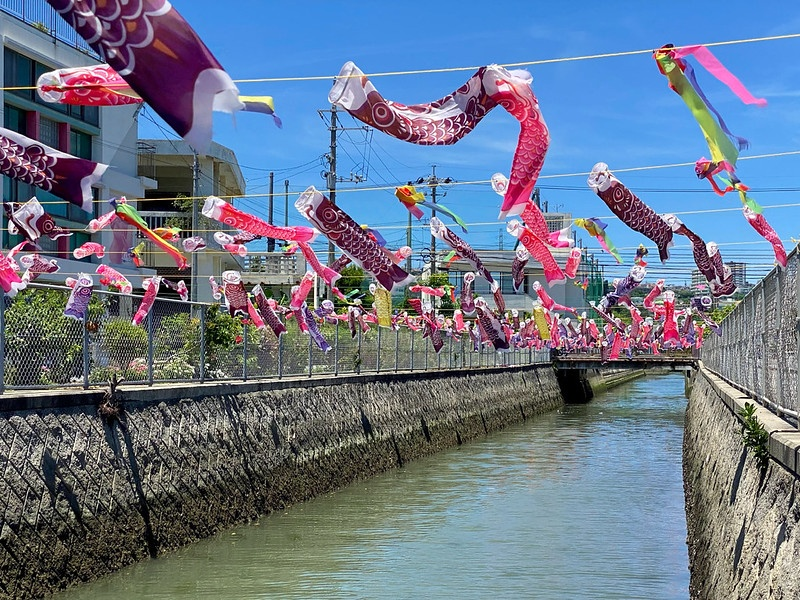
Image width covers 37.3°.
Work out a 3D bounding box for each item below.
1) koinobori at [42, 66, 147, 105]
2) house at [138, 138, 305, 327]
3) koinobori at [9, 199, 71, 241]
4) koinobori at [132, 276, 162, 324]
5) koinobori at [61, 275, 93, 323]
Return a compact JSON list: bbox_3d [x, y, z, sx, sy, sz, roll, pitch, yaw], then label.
[{"bbox_3d":[-4.949,-3.362,18.927,1.153,0.379,1.171,6,-5,-27],"label":"koinobori"},{"bbox_3d":[-6.075,-2.000,36.329,6.472,6.918,4.130,2,3,16],"label":"house"},{"bbox_3d":[-7.057,-1.510,22.895,1.326,0.593,0.978,21,4,-22],"label":"koinobori"},{"bbox_3d":[-4.620,-0.050,21.667,0.249,1.017,0.248,13,-25,-5],"label":"koinobori"},{"bbox_3d":[-5.443,-0.052,19.929,0.170,0.788,0.394,2,-13,43],"label":"koinobori"}]
